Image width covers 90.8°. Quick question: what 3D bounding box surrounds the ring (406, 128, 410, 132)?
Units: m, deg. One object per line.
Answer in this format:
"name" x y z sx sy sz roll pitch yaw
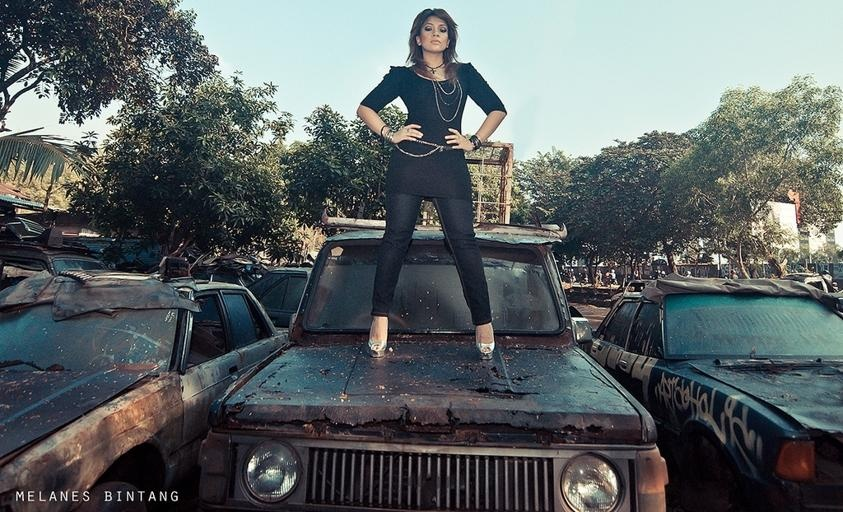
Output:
"ring" -0.093 -0.974 3.188 0.020 0.020 0.005 2 -29 -1

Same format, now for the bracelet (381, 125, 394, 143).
"bracelet" -0.258 -0.960 3.253 0.065 0.153 0.113 3 24 -11

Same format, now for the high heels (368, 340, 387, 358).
"high heels" -0.318 0.688 3.066 0.111 0.115 0.120 2 -7 -4
